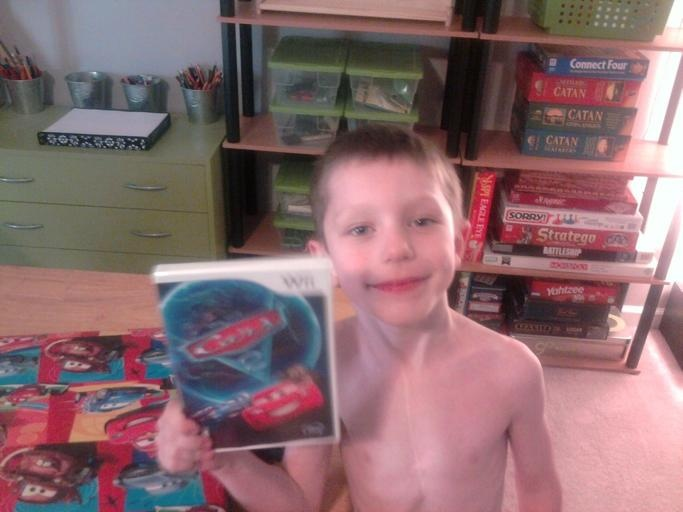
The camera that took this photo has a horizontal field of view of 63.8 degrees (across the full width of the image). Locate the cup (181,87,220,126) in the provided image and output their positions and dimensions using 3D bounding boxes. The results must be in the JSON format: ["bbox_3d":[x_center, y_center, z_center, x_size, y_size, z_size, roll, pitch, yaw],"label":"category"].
[{"bbox_3d":[-0.575,-0.661,2.244,0.176,0.142,0.197,0,23,-2],"label":"cup"}]

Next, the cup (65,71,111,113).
[{"bbox_3d":[-1.070,-0.722,2.307,0.162,0.169,0.158,5,31,-3],"label":"cup"}]

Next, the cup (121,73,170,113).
[{"bbox_3d":[-0.823,-0.705,2.282,0.114,0.178,0.149,40,52,20],"label":"cup"}]
